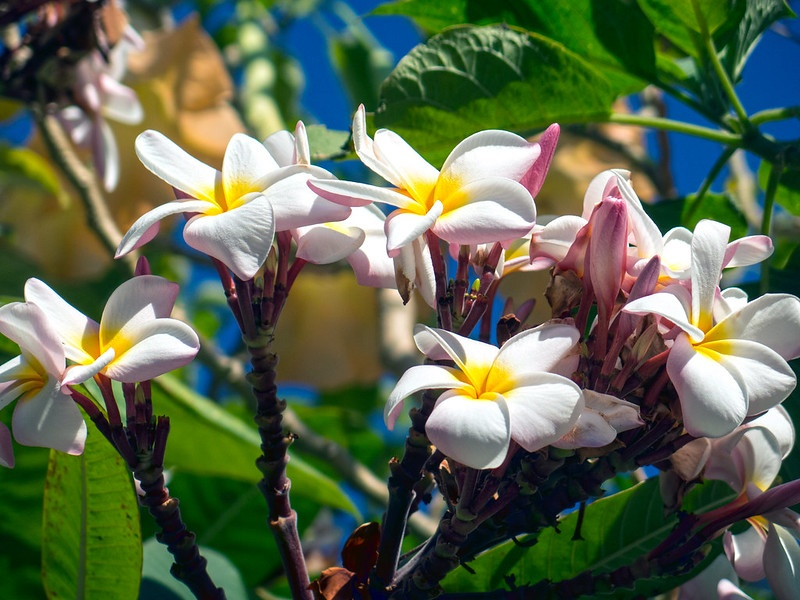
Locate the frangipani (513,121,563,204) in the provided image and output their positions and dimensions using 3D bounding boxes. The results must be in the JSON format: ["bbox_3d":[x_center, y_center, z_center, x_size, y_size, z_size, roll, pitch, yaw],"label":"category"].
[{"bbox_3d":[0.187,-0.174,1.367,0.036,0.032,0.140,6,71,63],"label":"frangipani"}]

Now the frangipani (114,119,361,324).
[{"bbox_3d":[-0.225,-0.108,1.297,0.285,0.214,0.227,-25,27,-18],"label":"frangipani"}]

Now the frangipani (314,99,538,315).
[{"bbox_3d":[0.033,-0.102,1.363,0.303,0.206,0.355,-5,-11,9],"label":"frangipani"}]

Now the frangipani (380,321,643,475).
[{"bbox_3d":[0.110,0.122,1.293,0.230,0.068,0.265,-9,29,-38],"label":"frangipani"}]
